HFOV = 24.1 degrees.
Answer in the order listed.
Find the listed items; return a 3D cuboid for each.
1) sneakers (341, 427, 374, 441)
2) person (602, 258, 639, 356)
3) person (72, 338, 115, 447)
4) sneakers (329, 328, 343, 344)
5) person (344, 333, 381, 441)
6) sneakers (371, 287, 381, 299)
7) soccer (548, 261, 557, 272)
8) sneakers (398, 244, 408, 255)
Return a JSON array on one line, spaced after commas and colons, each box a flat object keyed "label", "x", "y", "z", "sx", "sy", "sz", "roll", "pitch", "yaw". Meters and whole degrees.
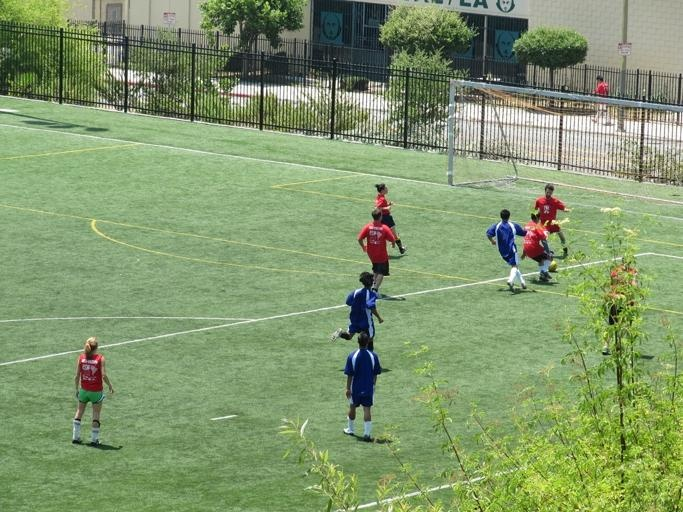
[{"label": "sneakers", "x": 0.240, "y": 2.843, "z": 25.240, "sx": 0.175, "sy": 0.209, "sz": 0.508, "roll": -11, "pitch": 22, "yaw": -40}, {"label": "person", "x": 3.780, "y": 0.594, "z": 21.109, "sx": 0.410, "sy": 1.195, "sz": 0.378, "roll": -11, "pitch": -18, "yaw": 19}, {"label": "person", "x": -3.911, "y": 2.074, "z": 25.164, "sx": 0.616, "sy": 1.661, "sz": 1.056, "roll": 0, "pitch": 9, "yaw": -9}, {"label": "sneakers", "x": -0.135, "y": 1.372, "z": 26.484, "sx": 0.163, "sy": 0.367, "sz": 0.135, "roll": 10, "pitch": 44, "yaw": -31}, {"label": "person", "x": 0.309, "y": 2.040, "z": 25.398, "sx": 0.557, "sy": 1.666, "sz": 0.826, "roll": 2, "pitch": 8, "yaw": 0}, {"label": "sneakers", "x": 0.557, "y": 0.649, "z": 27.540, "sx": 0.112, "sy": 0.129, "sz": 0.319, "roll": 6, "pitch": 12, "yaw": 15}, {"label": "soccer", "x": 4.177, "y": 0.210, "z": 31.808, "sx": 0.195, "sy": 0.217, "sz": 0.191, "roll": 13, "pitch": 3, "yaw": 17}, {"label": "sneakers", "x": 1.293, "y": -0.154, "z": 33.493, "sx": 0.095, "sy": 0.166, "sz": 0.250, "roll": 6, "pitch": 34, "yaw": 18}]
